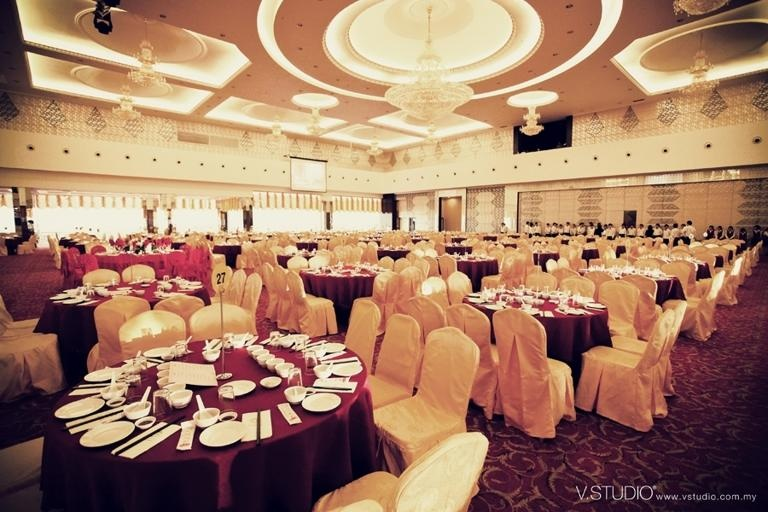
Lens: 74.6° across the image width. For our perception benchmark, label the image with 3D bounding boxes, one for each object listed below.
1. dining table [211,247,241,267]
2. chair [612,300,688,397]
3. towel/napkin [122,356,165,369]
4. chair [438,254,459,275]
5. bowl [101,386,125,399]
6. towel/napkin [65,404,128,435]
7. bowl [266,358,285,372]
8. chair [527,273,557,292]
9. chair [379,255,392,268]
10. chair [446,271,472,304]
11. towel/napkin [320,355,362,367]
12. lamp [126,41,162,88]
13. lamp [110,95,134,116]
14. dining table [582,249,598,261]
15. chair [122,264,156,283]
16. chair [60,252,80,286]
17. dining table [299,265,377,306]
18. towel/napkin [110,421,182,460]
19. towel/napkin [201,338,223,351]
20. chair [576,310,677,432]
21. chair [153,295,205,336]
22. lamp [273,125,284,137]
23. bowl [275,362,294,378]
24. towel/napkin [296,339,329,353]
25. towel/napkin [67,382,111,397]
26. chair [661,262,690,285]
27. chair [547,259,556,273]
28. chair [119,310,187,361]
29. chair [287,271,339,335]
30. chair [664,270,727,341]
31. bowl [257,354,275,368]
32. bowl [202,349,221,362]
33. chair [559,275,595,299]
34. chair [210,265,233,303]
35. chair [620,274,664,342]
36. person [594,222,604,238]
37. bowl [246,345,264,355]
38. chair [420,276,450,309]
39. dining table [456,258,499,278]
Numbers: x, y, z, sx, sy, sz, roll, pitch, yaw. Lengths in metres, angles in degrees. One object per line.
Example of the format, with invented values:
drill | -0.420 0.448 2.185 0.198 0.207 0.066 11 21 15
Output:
dining table | -4.369 0.019 14.190 0.619 0.463 0.619 0 1 -11
chair | 4.204 1.505 8.069 0.971 1.336 0.952 -18 26 -35
towel/napkin | -3.281 1.439 6.839 0.274 0.069 0.297 1 -1 24
chair | 1.519 0.241 11.827 0.281 0.535 0.663 -4 5 -28
bowl | -3.479 1.760 6.542 0.197 0.091 0.195 0 7 0
towel/napkin | -3.613 2.172 6.444 0.729 0.027 0.229 -19 50 -25
bowl | -1.470 1.452 6.837 0.180 0.101 0.182 -1 0 0
chair | 2.877 0.468 9.236 0.355 0.512 0.410 2 -1 23
chair | 0.048 0.148 11.066 0.219 0.311 0.252 0 -1 6
chair | 1.322 0.564 9.061 0.467 0.635 0.516 -1 2 -24
towel/napkin | -0.588 1.441 6.949 0.587 0.058 0.169 -2 32 -11
lamp | -5.396 -4.497 11.459 0.710 1.097 1.177 -3 5 -22
lamp | -6.864 -4.007 13.509 0.595 0.599 0.347 2 5 34
dining table | 5.702 -0.045 13.967 0.390 0.279 0.388 0 -1 -28
chair | -4.612 0.347 9.498 0.444 0.409 0.442 -2 9 -21
chair | -6.891 0.284 11.238 0.325 0.833 0.709 -5 6 -41
dining table | -1.022 0.729 10.812 1.860 0.709 1.923 0 -6 33
towel/napkin | -2.905 2.259 6.210 0.339 0.091 0.650 22 35 32
towel/napkin | -2.396 1.249 7.124 0.163 0.029 0.165 12 22 21
chair | 3.839 1.682 8.065 1.420 1.599 1.451 3 5 -12
chair | -3.161 0.787 8.008 0.617 0.809 0.630 -6 18 -39
lamp | -3.401 -4.009 16.134 0.229 0.379 0.458 -3 5 -18
bowl | -1.325 1.516 6.761 0.190 0.112 0.190 -1 -4 0
towel/napkin | -0.993 1.258 7.139 0.139 0.082 0.519 22 23 33
towel/napkin | -3.852 1.743 6.599 0.553 0.066 0.166 4 47 -13
chair | 5.815 0.353 10.275 0.445 0.614 0.493 0 0 40
chair | 3.376 0.198 10.154 0.214 0.194 0.215 -2 -1 -1
chair | -3.379 1.099 7.487 0.739 1.001 0.812 0 -7 -31
chair | -1.460 0.861 9.924 0.869 1.240 0.978 -8 18 -40
chair | 5.801 0.944 9.483 0.875 1.211 0.917 -15 20 -27
bowl | -1.604 1.415 6.898 0.189 0.105 0.186 -3 4 0
bowl | -2.357 1.356 6.943 0.166 0.098 0.168 -8 -1 0
chair | 3.470 0.554 9.065 0.405 0.579 0.463 -2 -10 41
chair | -2.202 0.331 6.858 0.241 0.446 0.284 -3 5 -23
chair | 4.781 0.893 9.423 0.740 1.165 0.658 0 11 33
person | 7.769 -0.926 18.315 0.402 0.308 0.972 -12 19 29
bowl | -1.795 1.305 7.054 0.136 0.062 0.138 0 -1 0
chair | 0.900 0.628 8.981 0.482 0.636 0.508 -4 5 -26
dining table | 2.230 0.254 11.977 0.576 0.343 0.586 0 1 44
